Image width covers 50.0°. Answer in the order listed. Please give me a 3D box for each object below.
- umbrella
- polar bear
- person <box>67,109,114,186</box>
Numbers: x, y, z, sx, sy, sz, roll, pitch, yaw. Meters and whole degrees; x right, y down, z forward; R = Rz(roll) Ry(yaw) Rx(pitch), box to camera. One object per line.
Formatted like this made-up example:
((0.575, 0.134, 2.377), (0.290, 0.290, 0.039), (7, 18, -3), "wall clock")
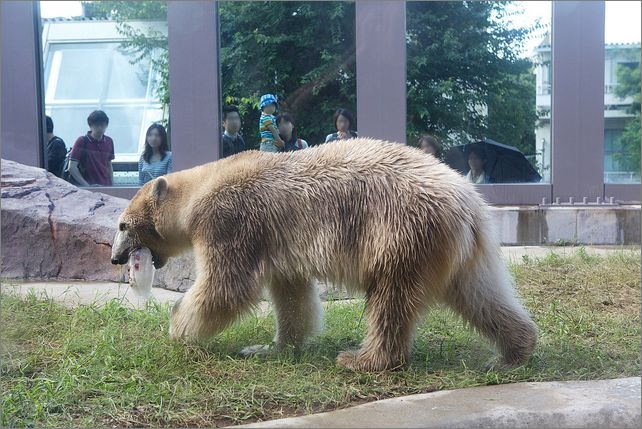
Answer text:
((3.108, -1.024, 12.395), (1.146, 0.603, 0.592), (9, 30, 13), "umbrella")
((-0.455, 0.545, 8.249), (5.462, 2.966, 1.721), (1, -9, 7), "polar bear")
((-4.247, -1.113, 13.211), (0.620, 1.564, 0.664), (13, -5, 15), "person")
